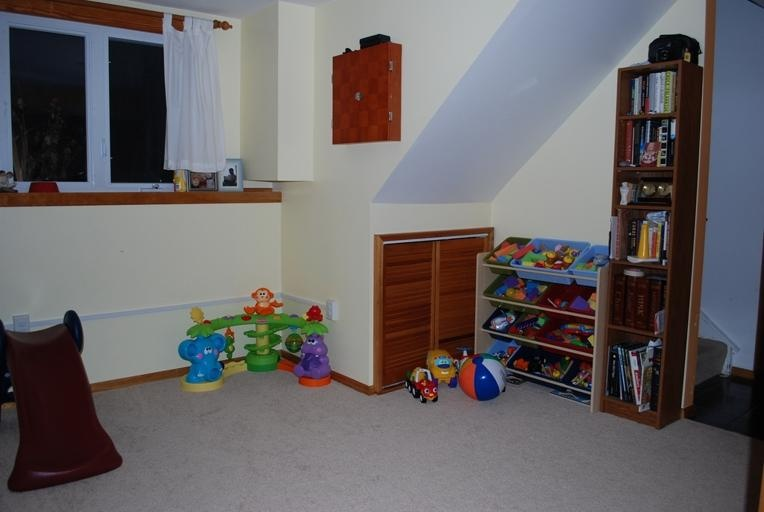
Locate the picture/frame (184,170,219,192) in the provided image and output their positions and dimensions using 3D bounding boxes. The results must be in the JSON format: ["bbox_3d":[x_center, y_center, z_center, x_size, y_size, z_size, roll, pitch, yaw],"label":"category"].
[{"bbox_3d":[-1.772,-0.738,5.375,0.301,0.187,0.048,-7,14,-23],"label":"picture/frame"}]

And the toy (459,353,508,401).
[{"bbox_3d":[0.883,1.055,4.712,0.370,0.403,0.384,-1,14,6],"label":"toy"}]

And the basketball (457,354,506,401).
[{"bbox_3d":[0.893,0.994,4.793,0.368,0.390,0.382,-1,13,7],"label":"basketball"}]

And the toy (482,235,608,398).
[{"bbox_3d":[1.519,0.563,4.915,0.462,1.376,1.268,-3,6,-42],"label":"toy"}]

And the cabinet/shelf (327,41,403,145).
[{"bbox_3d":[-0.117,-1.402,4.661,0.241,0.964,0.908,-2,4,-39],"label":"cabinet/shelf"}]

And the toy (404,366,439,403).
[{"bbox_3d":[0.360,1.142,4.899,0.201,0.234,0.375,-6,20,-23],"label":"toy"}]

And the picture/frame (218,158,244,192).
[{"bbox_3d":[-1.541,-0.817,5.483,0.306,0.413,0.040,-3,7,-30],"label":"picture/frame"}]

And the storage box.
[{"bbox_3d":[1.516,0.556,4.917,0.464,1.341,1.269,-3,6,-41],"label":"storage box"}]

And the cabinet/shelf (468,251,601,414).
[{"bbox_3d":[1.478,0.607,4.996,1.165,1.227,0.436,8,9,41],"label":"cabinet/shelf"}]

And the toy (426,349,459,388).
[{"bbox_3d":[0.567,1.037,5.142,0.242,0.293,0.456,-3,18,-1],"label":"toy"}]
